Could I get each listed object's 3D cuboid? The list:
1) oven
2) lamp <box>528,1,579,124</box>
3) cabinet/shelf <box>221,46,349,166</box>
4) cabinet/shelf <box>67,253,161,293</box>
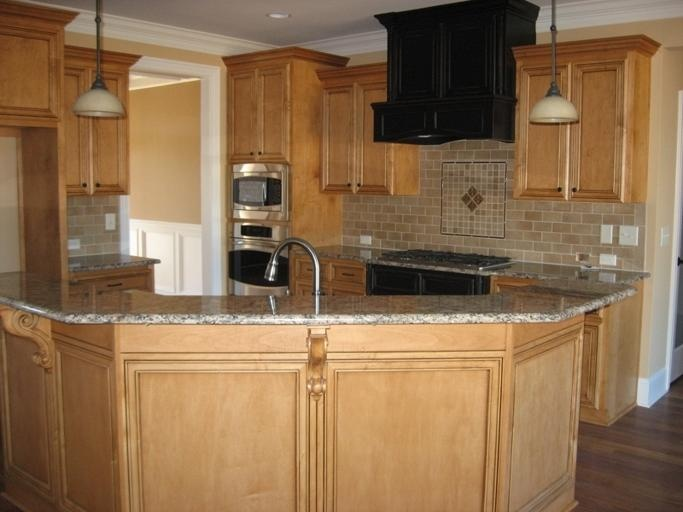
[{"bbox_3d":[-0.826,-0.234,6.436,0.749,1.198,0.465,-1,1,5],"label":"oven"},{"bbox_3d":[1.416,-1.325,4.208,0.280,0.921,0.937,1,5,18],"label":"lamp"},{"bbox_3d":[-0.646,-1.424,6.504,0.967,1.152,0.827,5,10,40],"label":"cabinet/shelf"},{"bbox_3d":[-2.170,0.167,5.686,0.545,0.331,0.865,3,7,41],"label":"cabinet/shelf"}]
